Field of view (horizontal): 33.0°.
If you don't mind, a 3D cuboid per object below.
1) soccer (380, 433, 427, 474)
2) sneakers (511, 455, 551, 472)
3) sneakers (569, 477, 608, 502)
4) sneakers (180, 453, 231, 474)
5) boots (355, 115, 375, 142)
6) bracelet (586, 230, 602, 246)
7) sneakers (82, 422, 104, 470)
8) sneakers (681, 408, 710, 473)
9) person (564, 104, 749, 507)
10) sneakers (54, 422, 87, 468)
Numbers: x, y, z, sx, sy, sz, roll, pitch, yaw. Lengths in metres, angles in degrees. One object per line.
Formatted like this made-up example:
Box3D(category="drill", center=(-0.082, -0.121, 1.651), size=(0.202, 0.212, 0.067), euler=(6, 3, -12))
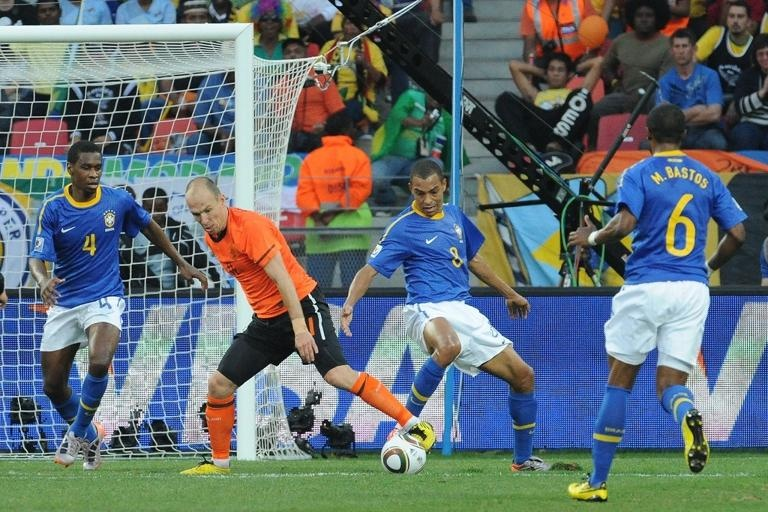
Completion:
Box3D(category="soccer", center=(0.165, 1.766, 11.618), size=(0.371, 0.360, 0.349), euler=(4, -6, -4))
Box3D(category="sneakers", center=(1.372, 1.931, 12.105), size=(0.390, 0.163, 0.137), euler=(-1, -4, -4))
Box3D(category="sneakers", center=(1.672, 1.901, 10.652), size=(0.263, 0.126, 0.165), euler=(5, -1, 13))
Box3D(category="sneakers", center=(-1.630, 1.886, 11.805), size=(0.460, 0.178, 0.165), euler=(2, -9, 0))
Box3D(category="boots", center=(-0.285, -1.702, 17.230), size=(0.220, 0.327, 0.339), euler=(1, 13, -1))
Box3D(category="bracelet", center=(1.787, -0.160, 10.960), size=(0.094, 0.090, 0.117), euler=(2, -29, -1))
Box3D(category="sneakers", center=(-2.760, 1.807, 12.326), size=(0.154, 0.455, 0.199), euler=(2, 10, 21))
Box3D(category="sneakers", center=(2.500, 1.487, 10.581), size=(0.204, 0.537, 0.216), euler=(-7, -8, 4))
Box3D(category="person", center=(2.307, 0.350, 10.918), size=(1.441, 3.275, 0.802), euler=(0, -1, 1))
Box3D(category="sneakers", center=(-3.002, 1.794, 12.166), size=(0.165, 0.218, 0.450), euler=(3, 16, 9))
